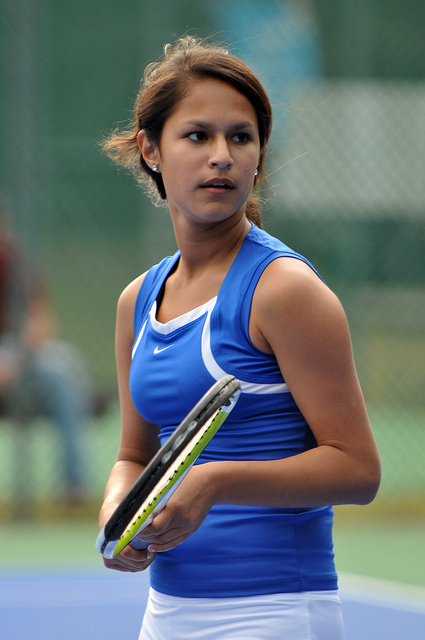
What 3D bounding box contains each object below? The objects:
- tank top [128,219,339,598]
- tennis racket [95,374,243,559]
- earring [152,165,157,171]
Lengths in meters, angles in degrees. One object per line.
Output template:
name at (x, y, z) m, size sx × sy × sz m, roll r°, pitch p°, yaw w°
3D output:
tank top at (0.015, 0.150, 1.348) m, size 0.325 × 0.581 × 0.413 m, roll 0°, pitch -2°, yaw -39°
tennis racket at (-0.079, 0.205, 1.017) m, size 0.217 × 0.259 × 0.096 m, roll 1°, pitch 3°, yaw 31°
earring at (-0.111, -0.292, 1.470) m, size 0.010 × 0.009 × 0.002 m, roll -6°, pitch 1°, yaw -28°
